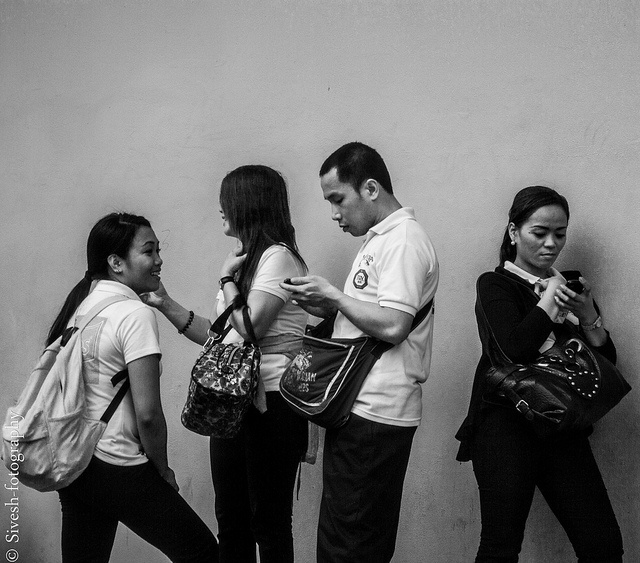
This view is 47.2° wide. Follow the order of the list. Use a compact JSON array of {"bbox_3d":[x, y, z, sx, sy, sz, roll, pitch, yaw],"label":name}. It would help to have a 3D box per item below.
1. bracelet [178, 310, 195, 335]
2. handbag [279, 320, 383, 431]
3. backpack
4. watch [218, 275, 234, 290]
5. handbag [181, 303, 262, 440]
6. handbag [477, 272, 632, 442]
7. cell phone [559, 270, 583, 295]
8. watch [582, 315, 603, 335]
[{"bbox_3d":[-0.630,0.202,3.507,0.025,0.102,0.080,24,-22,-4],"label":"bracelet"},{"bbox_3d":[0.054,0.375,2.816,0.206,0.380,0.305,32,-4,-31],"label":"handbag"},{"bbox_3d":[-0.959,0.419,2.796,0.447,0.749,0.243,4,2,-16],"label":"backpack"},{"bbox_3d":[-0.383,0.008,3.039,0.060,0.043,0.062,-19,-22,29],"label":"watch"},{"bbox_3d":[-0.392,0.374,2.995,0.276,0.489,0.457,20,-36,-7],"label":"handbag"},{"bbox_3d":[0.926,0.310,2.947,0.484,0.668,0.287,-22,-26,-37],"label":"handbag"},{"bbox_3d":[1.032,0.021,3.015,0.077,0.030,0.121,2,17,-2],"label":"cell phone"},{"bbox_3d":[1.143,0.190,3.076,0.066,0.029,0.071,-20,-28,30],"label":"watch"}]
